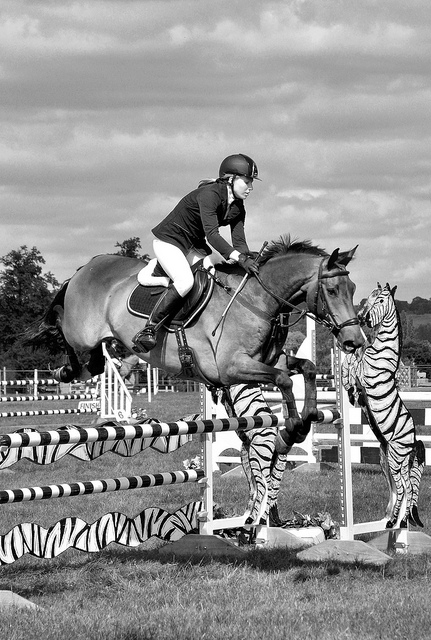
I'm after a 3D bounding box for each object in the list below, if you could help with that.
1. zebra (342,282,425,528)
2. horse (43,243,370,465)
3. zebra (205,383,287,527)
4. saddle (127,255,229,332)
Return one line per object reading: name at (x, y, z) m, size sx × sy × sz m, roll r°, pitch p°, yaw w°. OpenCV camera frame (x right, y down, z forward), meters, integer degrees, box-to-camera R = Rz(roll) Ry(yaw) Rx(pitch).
zebra at (1.072, 0.527, 8.421) m, size 0.450 × 1.484 × 0.728 m, roll -1°, pitch -1°, yaw -1°
horse at (-0.055, 0.194, 8.298) m, size 0.765 × 1.320 × 2.339 m, roll 0°, pitch -1°, yaw -38°
zebra at (0.206, 0.857, 8.337) m, size 0.471 × 0.918 × 0.905 m, roll -1°, pitch -1°, yaw 3°
saddle at (-0.232, -0.161, 8.266) m, size 0.167 × 0.512 × 0.496 m, roll 18°, pitch -29°, yaw -40°
